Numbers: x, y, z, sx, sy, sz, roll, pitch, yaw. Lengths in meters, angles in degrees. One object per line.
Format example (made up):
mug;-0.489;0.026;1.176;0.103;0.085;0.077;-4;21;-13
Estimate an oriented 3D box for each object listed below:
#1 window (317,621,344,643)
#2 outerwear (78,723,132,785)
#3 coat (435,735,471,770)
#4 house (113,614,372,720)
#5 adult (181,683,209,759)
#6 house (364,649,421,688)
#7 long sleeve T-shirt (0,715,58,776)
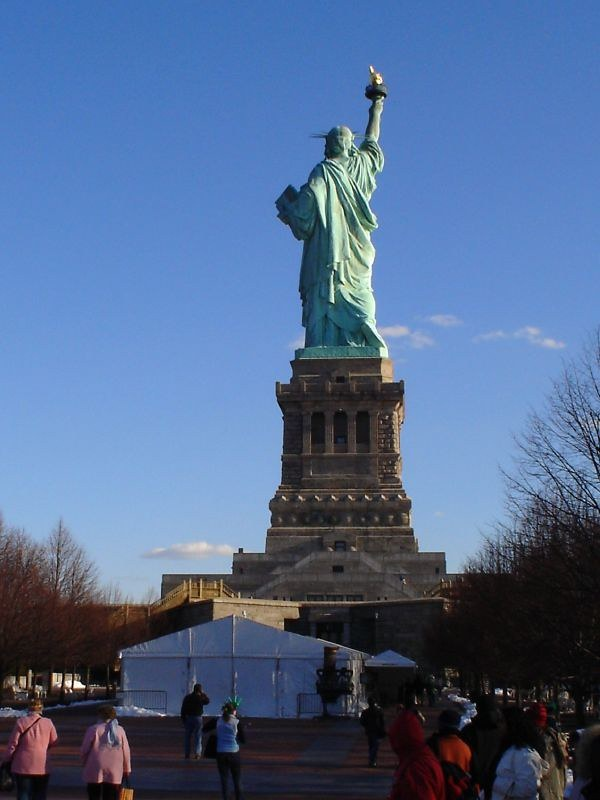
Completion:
window;1.139;8.701;61.375;0.810;0.861;0.844;1;-13;0
outerwear;-2.426;4.409;20.375;0.591;0.775;0.381;3;-17;-8
coat;1.543;3.599;16.596;0.344;0.403;0.207;1;2;23
house;-1.982;7.409;44.716;5.455;2.718;1.182;-1;-17;6
adult;-1.915;5.814;29.566;0.472;1.286;0.405;3;-3;-12
house;2.544;7.456;46.702;1.381;0.804;2.272;0;-18;3
long sleeve T-shirt;-3.470;4.390;20.777;0.733;0.787;0.341;15;-22;-39
